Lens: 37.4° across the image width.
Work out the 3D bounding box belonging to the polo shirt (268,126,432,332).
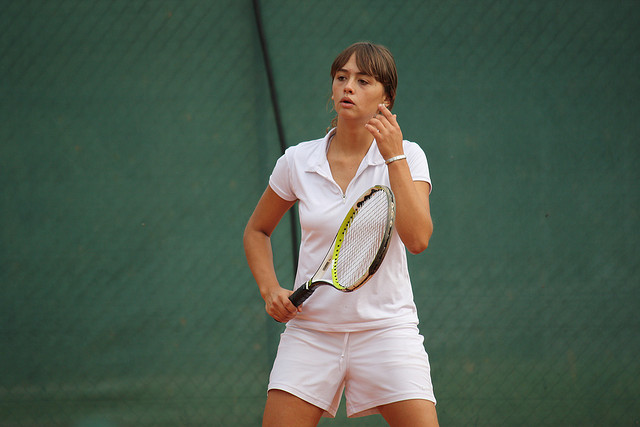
[{"bbox_3d":[0.175,0.126,5.884,0.962,1.258,0.568,4,14,22],"label":"polo shirt"}]

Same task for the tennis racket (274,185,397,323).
[{"bbox_3d":[0.151,0.194,5.647,0.634,0.661,0.098,-7,-14,21],"label":"tennis racket"}]
